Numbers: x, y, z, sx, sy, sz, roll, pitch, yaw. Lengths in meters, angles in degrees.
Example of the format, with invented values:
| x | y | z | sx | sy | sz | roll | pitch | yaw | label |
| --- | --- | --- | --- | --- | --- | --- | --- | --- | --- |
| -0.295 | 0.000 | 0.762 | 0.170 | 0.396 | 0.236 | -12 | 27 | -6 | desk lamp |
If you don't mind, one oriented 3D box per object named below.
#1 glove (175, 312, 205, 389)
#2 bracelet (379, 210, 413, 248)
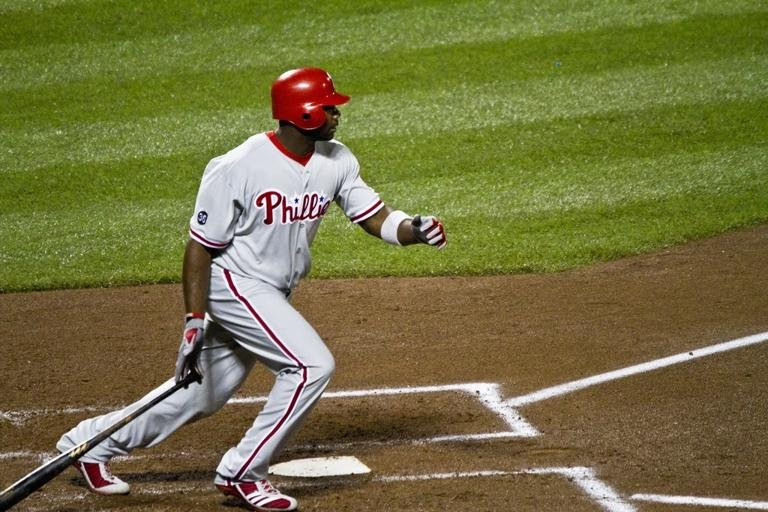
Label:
| x | y | z | sx | sy | sz | roll | pitch | yaw | label |
| --- | --- | --- | --- | --- | --- | --- | --- | --- | --- |
| -1.791 | 0.880 | 12.346 | 0.265 | 0.642 | 0.200 | 12 | 15 | -4 | glove |
| 0.127 | -0.250 | 12.579 | 0.255 | 0.284 | 0.332 | 29 | 10 | 16 | bracelet |
